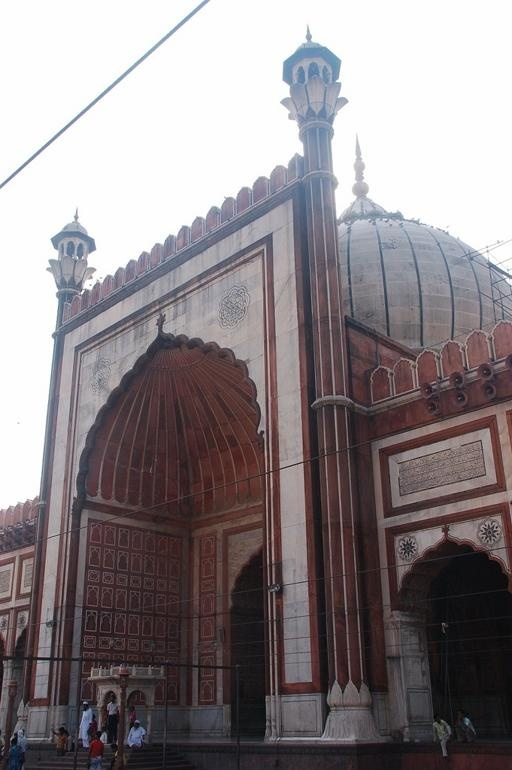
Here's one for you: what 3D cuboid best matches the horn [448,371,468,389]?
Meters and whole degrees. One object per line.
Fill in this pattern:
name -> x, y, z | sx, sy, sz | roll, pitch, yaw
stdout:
horn -> 2.073, -0.049, 6.031 | 0.160, 0.155, 0.123 | -18, -28, 28

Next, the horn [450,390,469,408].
horn -> 2.097, 0.137, 6.017 | 0.136, 0.154, 0.134 | 10, -9, 43

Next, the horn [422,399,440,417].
horn -> 1.898, 0.242, 6.332 | 0.140, 0.161, 0.155 | 17, 2, 23

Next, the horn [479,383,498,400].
horn -> 2.288, 0.063, 5.752 | 0.118, 0.154, 0.138 | -18, -19, 30

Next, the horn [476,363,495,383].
horn -> 2.283, -0.116, 5.847 | 0.138, 0.171, 0.156 | -26, -26, 24

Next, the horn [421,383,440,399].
horn -> 1.890, 0.079, 6.328 | 0.146, 0.156, 0.155 | -16, -18, 30
